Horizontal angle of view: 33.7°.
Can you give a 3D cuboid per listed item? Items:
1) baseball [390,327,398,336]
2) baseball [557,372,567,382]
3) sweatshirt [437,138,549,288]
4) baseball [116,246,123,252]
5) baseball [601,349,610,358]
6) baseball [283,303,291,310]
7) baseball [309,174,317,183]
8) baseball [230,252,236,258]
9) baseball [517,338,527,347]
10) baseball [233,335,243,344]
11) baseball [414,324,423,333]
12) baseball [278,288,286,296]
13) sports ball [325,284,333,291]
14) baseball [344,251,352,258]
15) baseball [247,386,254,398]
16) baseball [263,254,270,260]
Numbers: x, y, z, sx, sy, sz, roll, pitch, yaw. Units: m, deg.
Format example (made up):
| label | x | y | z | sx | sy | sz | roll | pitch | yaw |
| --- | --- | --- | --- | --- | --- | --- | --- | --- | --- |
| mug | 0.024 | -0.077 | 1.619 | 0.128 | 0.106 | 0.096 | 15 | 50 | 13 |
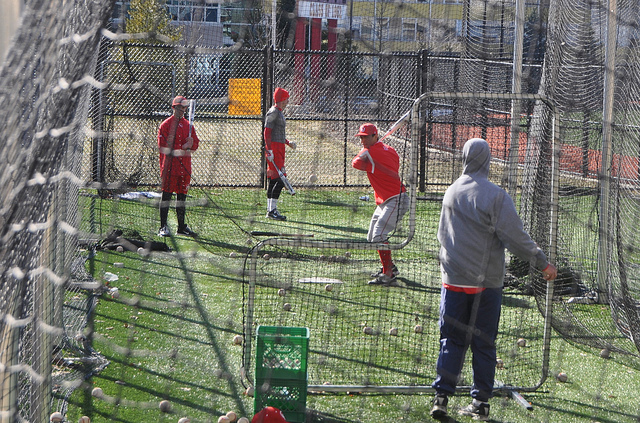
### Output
| label | x | y | z | sx | sy | sz | roll | pitch | yaw |
| --- | --- | --- | --- | --- | --- | --- | --- | --- | --- |
| baseball | 1.016 | 1.657 | 14.629 | 0.107 | 0.086 | 0.175 | 5 | 7 | 3 |
| baseball | 3.152 | 2.164 | 13.814 | 0.099 | 0.101 | 0.109 | 2 | -7 | -28 |
| sweatshirt | 2.069 | 0.028 | 13.088 | 1.157 | 1.806 | 0.370 | 5 | 6 | 4 |
| baseball | -3.225 | 0.608 | 17.056 | 0.122 | 0.123 | 0.067 | -3 | 16 | -17 |
| baseball | 3.864 | 1.922 | 14.356 | 0.093 | 0.099 | 0.142 | 10 | 8 | 40 |
| baseball | -0.466 | 1.346 | 14.980 | 0.078 | 0.055 | 0.071 | -2 | 0 | 8 |
| baseball | -0.146 | -0.706 | 22.227 | 0.134 | 0.101 | 0.164 | -1 | -10 | -5 |
| baseball | -1.411 | 0.701 | 17.086 | 0.071 | 0.067 | 0.069 | -12 | 15 | -42 |
| baseball | 2.747 | 1.780 | 14.403 | 0.078 | 0.085 | 0.102 | 10 | 16 | 38 |
| baseball | -1.113 | 1.733 | 14.314 | 0.094 | 0.073 | 0.111 | 0 | 15 | 3 |
| baseball | 1.358 | 1.619 | 14.617 | 0.094 | 0.098 | 0.094 | -3 | 13 | -10 |
| baseball | -0.564 | 1.178 | 15.539 | 0.114 | 0.093 | 0.191 | 5 | 7 | 3 |
| sports ball | 0.135 | 1.138 | 15.822 | 0.079 | 0.079 | 0.077 | 0 | 20 | 0 |
| baseball | 0.456 | 0.711 | 17.546 | 0.090 | 0.062 | 0.089 | -10 | -25 | -19 |
| baseball | -0.869 | 2.262 | 13.259 | 0.084 | 0.106 | 0.116 | 7 | -11 | -9 |
| baseball | -0.845 | 0.733 | 16.552 | 0.093 | 0.035 | 0.097 | -19 | -41 | 21 |
